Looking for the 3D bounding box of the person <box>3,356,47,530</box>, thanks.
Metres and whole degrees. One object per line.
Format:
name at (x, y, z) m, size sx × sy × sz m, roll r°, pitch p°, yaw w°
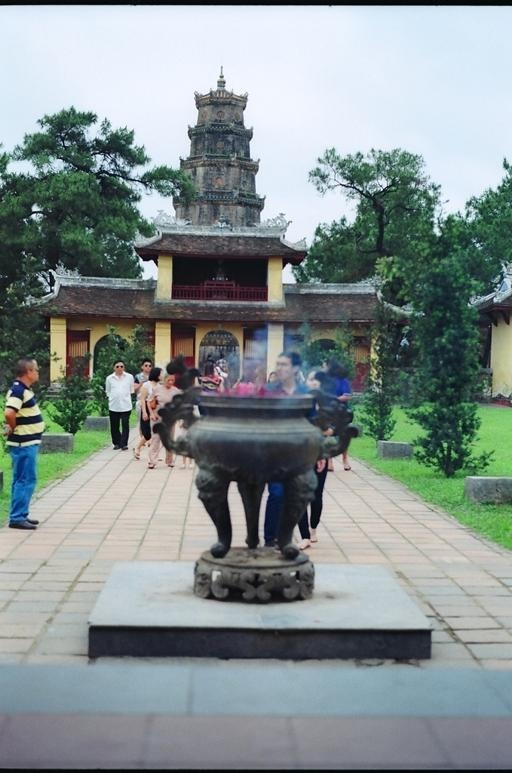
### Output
person at (-1.844, 0.442, 6.368) m, size 0.290 × 1.319 × 0.541 m, roll 1°, pitch 1°, yaw -16°
